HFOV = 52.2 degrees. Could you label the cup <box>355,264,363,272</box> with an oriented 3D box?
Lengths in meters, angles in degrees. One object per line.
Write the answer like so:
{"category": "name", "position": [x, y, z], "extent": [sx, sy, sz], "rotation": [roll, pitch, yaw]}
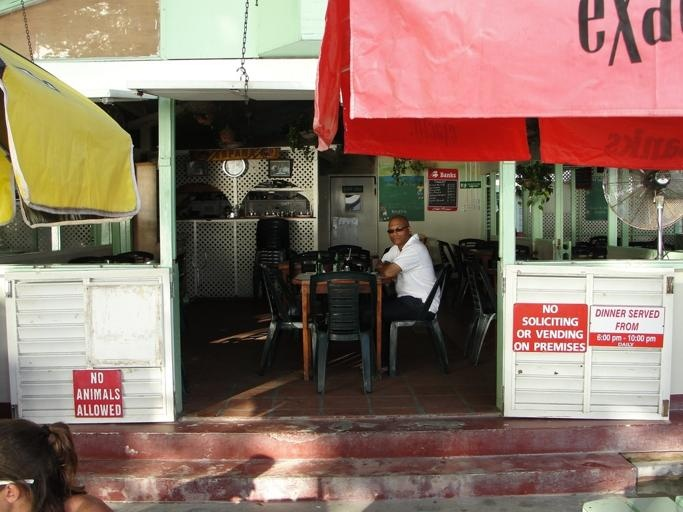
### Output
{"category": "cup", "position": [0.218, 0.144, 8.450], "extent": [0.090, 0.072, 0.152], "rotation": [3, 2, 1]}

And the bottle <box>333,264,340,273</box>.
{"category": "bottle", "position": [-0.054, 0.138, 7.740], "extent": [0.093, 0.147, 0.086], "rotation": [2, -2, 0]}

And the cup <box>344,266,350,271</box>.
{"category": "cup", "position": [0.064, 0.150, 8.126], "extent": [0.063, 0.051, 0.058], "rotation": [0, -8, 0]}

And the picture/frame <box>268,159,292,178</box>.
{"category": "picture/frame", "position": [-1.054, -1.510, 11.980], "extent": [0.357, 0.252, 0.049], "rotation": [-1, -4, 1]}
